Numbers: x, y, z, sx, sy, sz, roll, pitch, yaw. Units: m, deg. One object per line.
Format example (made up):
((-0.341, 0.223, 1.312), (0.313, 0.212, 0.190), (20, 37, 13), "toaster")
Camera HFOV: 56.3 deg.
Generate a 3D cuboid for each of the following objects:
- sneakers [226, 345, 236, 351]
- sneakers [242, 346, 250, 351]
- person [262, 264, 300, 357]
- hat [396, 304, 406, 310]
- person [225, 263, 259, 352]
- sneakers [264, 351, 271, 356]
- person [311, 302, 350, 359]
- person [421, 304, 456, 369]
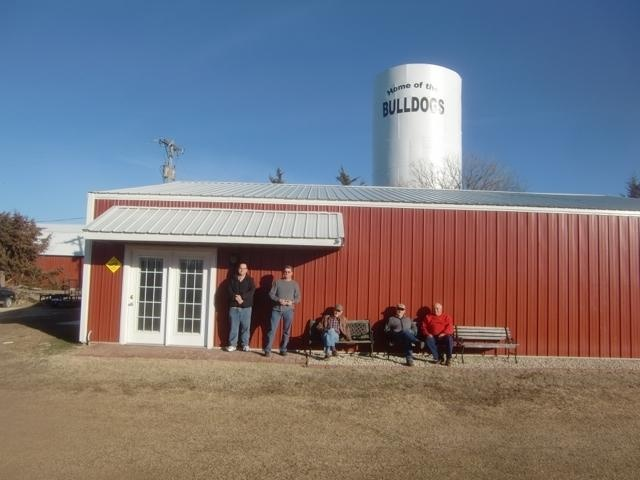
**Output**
((-2.086, 2.544, 14.112), (0.213, 0.097, 0.106), (14, -15, -28), "sneakers")
((-1.754, 2.576, 14.241), (0.143, 0.086, 0.089), (1, -5, -21), "sneakers")
((-0.886, 1.644, 14.135), (0.819, 2.177, 0.772), (4, -9, -21), "person")
((1.892, 1.560, 14.011), (0.162, 0.145, 0.274), (5, -2, 2), "hat")
((-1.855, 1.619, 14.088), (0.599, 2.012, 0.728), (2, -9, -8), "person")
((-1.196, 2.648, 13.866), (0.165, 0.097, 0.320), (2, -9, -2), "sneakers")
((0.296, 2.148, 14.030), (0.815, 1.220, 0.768), (-1, -9, 12), "person")
((2.679, 2.155, 13.741), (0.706, 1.389, 0.534), (0, -9, 10), "person")
